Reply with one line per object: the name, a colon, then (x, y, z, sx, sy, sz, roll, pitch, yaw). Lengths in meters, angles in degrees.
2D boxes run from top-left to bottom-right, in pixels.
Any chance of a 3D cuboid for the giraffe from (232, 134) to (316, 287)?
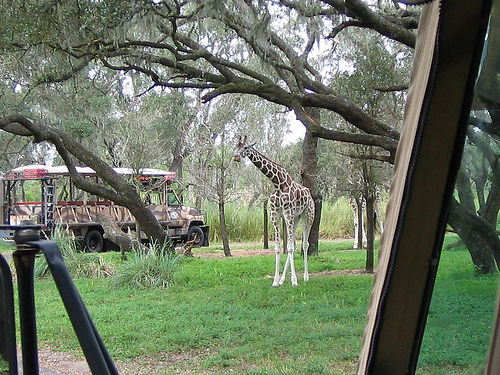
giraffe: (0.618, 0.418, 9.637, 1.651, 3.195, 1.180, -2, -2, -9)
